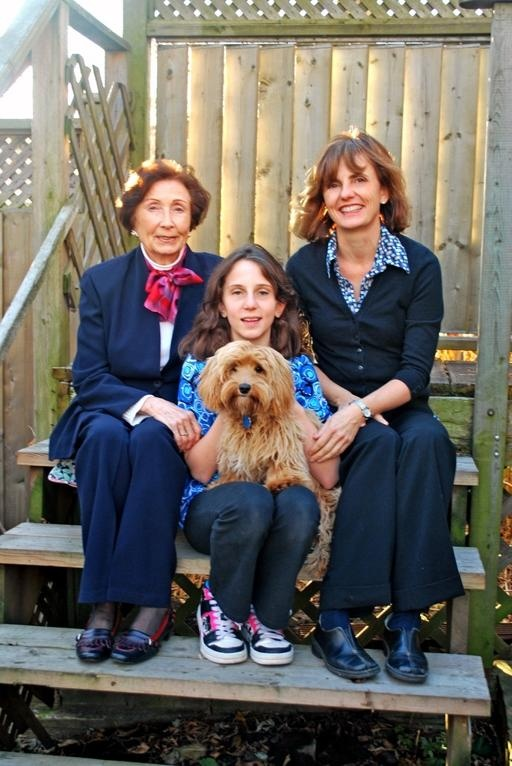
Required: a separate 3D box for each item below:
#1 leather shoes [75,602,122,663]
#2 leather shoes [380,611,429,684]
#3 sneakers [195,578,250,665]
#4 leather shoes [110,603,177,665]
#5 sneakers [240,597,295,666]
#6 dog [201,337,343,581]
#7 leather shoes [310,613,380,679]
[{"bbox_3d":[-0.444,0.694,2.002,0.075,0.059,0.187,-2,17,5],"label":"leather shoes"},{"bbox_3d":[0.393,0.709,1.915,0.078,0.086,0.195,0,-3,-2],"label":"leather shoes"},{"bbox_3d":[-0.099,0.706,2.083,0.115,0.150,0.355,4,-5,-10],"label":"sneakers"},{"bbox_3d":[-0.315,0.731,2.038,0.076,0.075,0.190,0,-3,20],"label":"leather shoes"},{"bbox_3d":[0.031,0.733,2.074,0.119,0.139,0.333,3,-13,-7],"label":"sneakers"},{"bbox_3d":[0.013,0.129,2.112,0.354,0.549,0.472,-2,18,0],"label":"dog"},{"bbox_3d":[0.235,0.716,1.957,0.104,0.120,0.274,4,-1,-21],"label":"leather shoes"}]
